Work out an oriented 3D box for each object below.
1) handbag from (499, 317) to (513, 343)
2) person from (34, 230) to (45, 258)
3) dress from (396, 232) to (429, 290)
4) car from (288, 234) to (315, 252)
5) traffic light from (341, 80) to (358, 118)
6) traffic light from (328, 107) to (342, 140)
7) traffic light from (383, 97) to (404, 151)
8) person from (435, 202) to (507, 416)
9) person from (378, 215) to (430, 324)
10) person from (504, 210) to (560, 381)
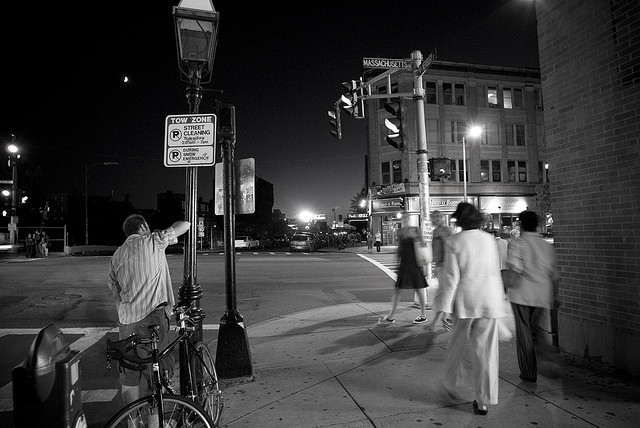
[{"bbox_3d":[2.886,1.786,8.528,0.177,0.328,0.341,-4,-16,23],"label":"handbag"},{"bbox_3d":[-17.269,1.890,33.696,0.581,1.669,1.533,10,-17,-27],"label":"person"},{"bbox_3d":[1.967,1.035,11.973,0.424,1.249,0.547,-8,-18,36],"label":"dress"},{"bbox_3d":[-1.350,2.184,42.626,1.778,1.724,1.617,5,-15,-7],"label":"car"},{"bbox_3d":[0.904,-3.233,15.340,0.561,0.966,0.482,10,-16,-27],"label":"traffic light"},{"bbox_3d":[0.428,-2.645,15.912,0.332,0.963,0.668,2,-15,4],"label":"traffic light"},{"bbox_3d":[1.978,-2.313,14.320,0.514,1.453,0.330,-9,-14,14],"label":"traffic light"},{"bbox_3d":[2.405,1.494,8.776,0.990,3.210,1.097,1,-14,5],"label":"person"},{"bbox_3d":[1.963,1.168,12.112,0.807,2.334,0.828,-5,-16,26],"label":"person"},{"bbox_3d":[3.481,1.304,9.035,0.710,2.737,0.519,4,-14,-5],"label":"person"}]
